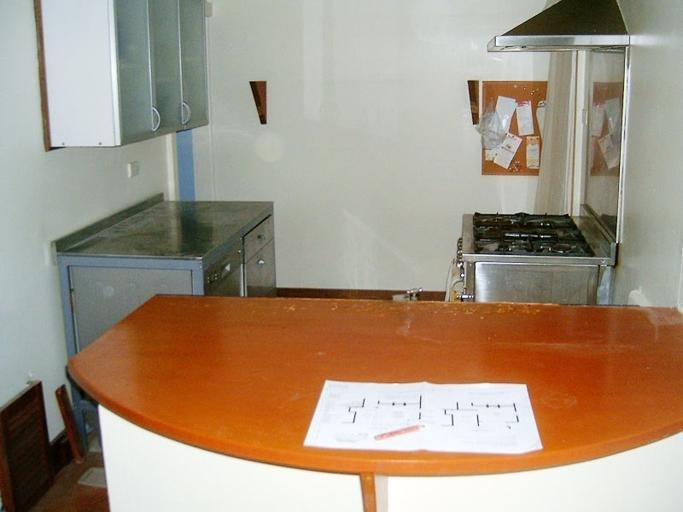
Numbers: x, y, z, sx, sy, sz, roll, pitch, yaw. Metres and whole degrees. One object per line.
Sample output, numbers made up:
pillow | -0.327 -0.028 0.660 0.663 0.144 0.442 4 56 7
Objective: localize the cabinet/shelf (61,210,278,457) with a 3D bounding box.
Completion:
cabinet/shelf | -0.940 0.677 3.693 0.998 1.210 1.775 0 19 4
